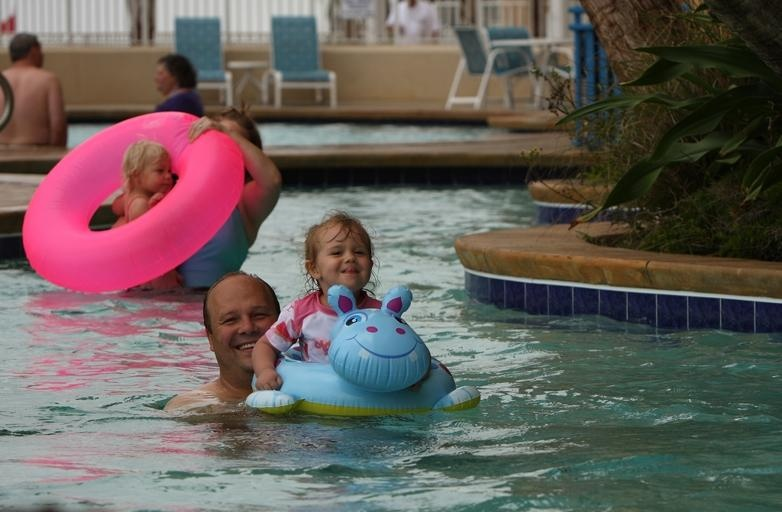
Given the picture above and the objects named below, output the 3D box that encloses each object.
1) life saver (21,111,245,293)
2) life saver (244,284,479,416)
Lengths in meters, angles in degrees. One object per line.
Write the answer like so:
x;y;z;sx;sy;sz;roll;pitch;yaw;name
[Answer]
-1.406;-0.304;7.188;1.208;0.878;0.673;-1;9;-1;life saver
-0.084;0.450;5.511;0.689;0.352;0.654;2;-8;-18;life saver
